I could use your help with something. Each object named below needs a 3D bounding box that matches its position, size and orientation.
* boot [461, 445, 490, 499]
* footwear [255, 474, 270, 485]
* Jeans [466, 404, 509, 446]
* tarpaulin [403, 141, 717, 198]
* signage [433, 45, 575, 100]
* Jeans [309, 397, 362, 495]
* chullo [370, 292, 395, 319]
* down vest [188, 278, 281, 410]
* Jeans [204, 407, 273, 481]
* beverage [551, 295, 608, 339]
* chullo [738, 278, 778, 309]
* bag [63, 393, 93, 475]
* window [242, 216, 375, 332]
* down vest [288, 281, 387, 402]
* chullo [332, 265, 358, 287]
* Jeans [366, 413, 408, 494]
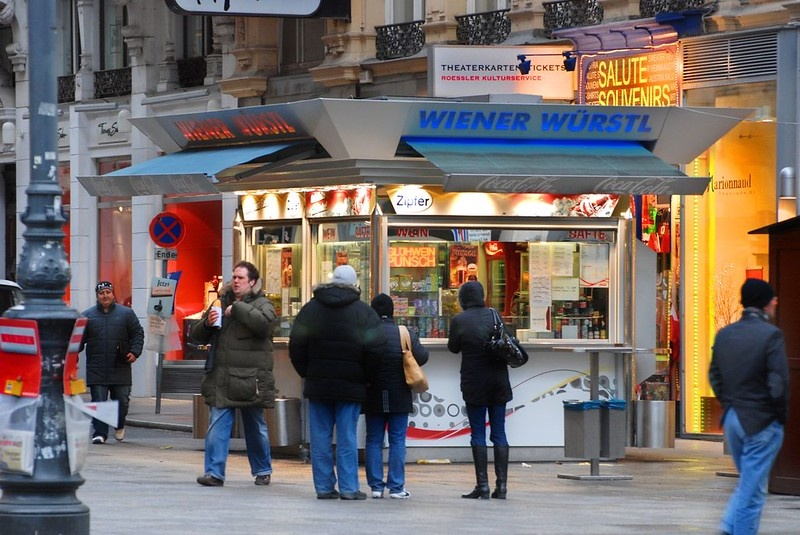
[{"bbox_3d":[0.898,2.373,20.314,0.331,0.601,0.256,1,-4,2],"label":"boot"},{"bbox_3d":[-1.634,2.514,20.646,0.175,0.148,0.103,10,-13,-26],"label":"footwear"},{"bbox_3d":[1.023,1.826,20.312,0.467,0.502,0.216,1,-4,1],"label":"Jeans"},{"bbox_3d":[2.086,-1.336,22.653,3.662,0.693,1.546,2,2,18],"label":"tarpaulin"},{"bbox_3d":[1.629,-3.143,27.649,2.325,0.877,0.220,2,-3,14],"label":"signage"},{"bbox_3d":[-0.728,2.003,19.822,0.618,1.210,0.313,-4,-1,4],"label":"Jeans"},{"bbox_3d":[-0.210,0.436,20.267,0.248,0.279,0.297,-5,-6,-4],"label":"chullo"},{"bbox_3d":[-1.896,0.891,20.612,1.192,1.443,0.916,-2,-5,35],"label":"down vest"},{"bbox_3d":[-1.966,2.141,21.102,1.091,1.091,0.418,2,-2,-19],"label":"Jeans"},{"bbox_3d":[2.389,0.692,23.619,1.106,0.662,0.529,2,-3,-13],"label":"beverage"},{"bbox_3d":[3.733,0.237,17.927,0.380,0.308,0.281,-1,4,-9],"label":"chullo"},{"bbox_3d":[-3.094,1.589,16.638,0.153,0.743,0.273,-1,-4,28],"label":"bag"},{"bbox_3d":[-1.112,0.065,22.060,0.142,1.122,1.739,-1,2,-42],"label":"window"},{"bbox_3d":[-0.725,0.825,19.700,1.056,1.367,0.349,1,-4,-6],"label":"down vest"},{"bbox_3d":[-0.629,0.066,19.789,0.224,0.204,0.281,3,4,-2],"label":"chullo"},{"bbox_3d":[-0.130,2.083,20.065,0.540,1.090,0.299,-4,-9,17],"label":"Jeans"}]
